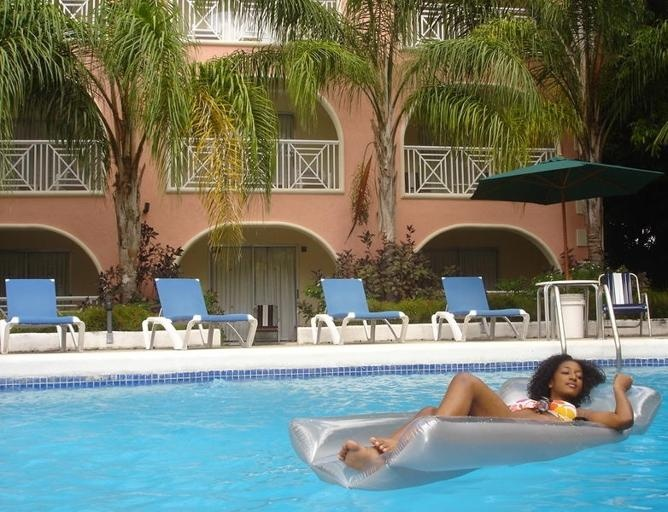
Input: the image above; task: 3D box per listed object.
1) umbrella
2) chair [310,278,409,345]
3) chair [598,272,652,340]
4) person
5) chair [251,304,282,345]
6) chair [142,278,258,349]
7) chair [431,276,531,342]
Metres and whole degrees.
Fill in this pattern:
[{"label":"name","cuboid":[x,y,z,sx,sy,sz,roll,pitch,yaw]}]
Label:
[{"label":"umbrella","cuboid":[3.402,-0.544,15.216,2.480,1.728,1.473,-3,-4,14]},{"label":"chair","cuboid":[0.282,0.725,15.321,1.025,1.117,1.133,1,-6,-32]},{"label":"chair","cuboid":[4.624,0.797,16.369,0.711,1.447,0.922,-1,-8,8]},{"label":"person","cuboid":[1.614,1.537,10.590,2.053,0.954,1.438,-3,-12,-15]},{"label":"chair","cuboid":[-1.203,1.138,18.467,0.435,0.754,0.678,-1,-4,0]},{"label":"chair","cuboid":[-2.066,0.630,14.675,1.087,1.102,1.388,3,-9,-42]},{"label":"chair","cuboid":[2.104,0.731,15.716,1.027,1.103,1.159,0,-4,-25]}]
